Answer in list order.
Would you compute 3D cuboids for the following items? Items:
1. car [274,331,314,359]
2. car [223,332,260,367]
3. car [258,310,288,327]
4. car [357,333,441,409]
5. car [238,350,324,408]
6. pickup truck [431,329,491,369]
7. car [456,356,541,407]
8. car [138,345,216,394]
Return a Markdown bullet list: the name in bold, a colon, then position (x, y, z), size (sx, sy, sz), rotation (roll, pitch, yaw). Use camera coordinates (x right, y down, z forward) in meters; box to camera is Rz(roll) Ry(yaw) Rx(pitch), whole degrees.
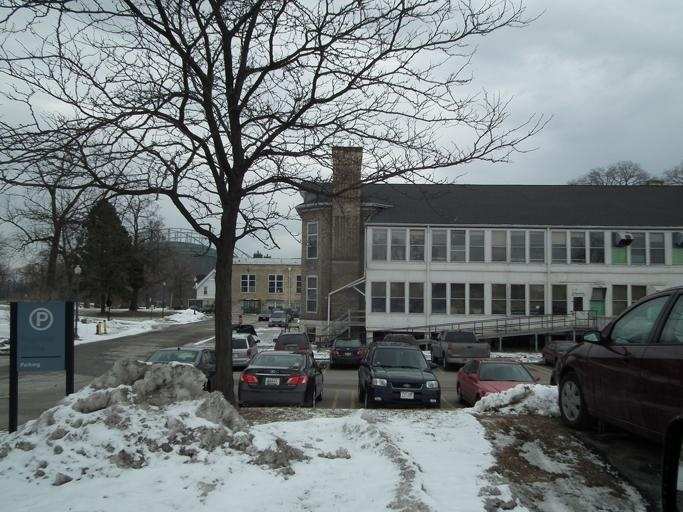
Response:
- **car**: position (-1.895, 3.533, 25.607), size (1.092, 0.879, 1.850), rotation (0, -1, 2)
- **car**: position (-3.993, 3.825, 27.199), size (1.469, 1.232, 3.141), rotation (-1, 1, 3)
- **car**: position (-5.974, 5.953, 61.925), size (2.048, 1.431, 3.213), rotation (0, -9, -3)
- **car**: position (1.591, 3.215, 18.441), size (1.719, 1.462, 3.912), rotation (0, -11, -1)
- **car**: position (-1.472, 3.060, 16.506), size (1.629, 1.201, 2.332), rotation (0, 1, 9)
- **pickup truck**: position (5.002, 4.194, 28.938), size (1.790, 1.160, 3.291), rotation (0, -2, -3)
- **car**: position (3.890, 3.314, 17.576), size (1.101, 0.765, 2.408), rotation (-1, -11, -3)
- **car**: position (-4.339, 3.277, 17.737), size (1.502, 1.138, 3.544), rotation (1, -3, 2)
